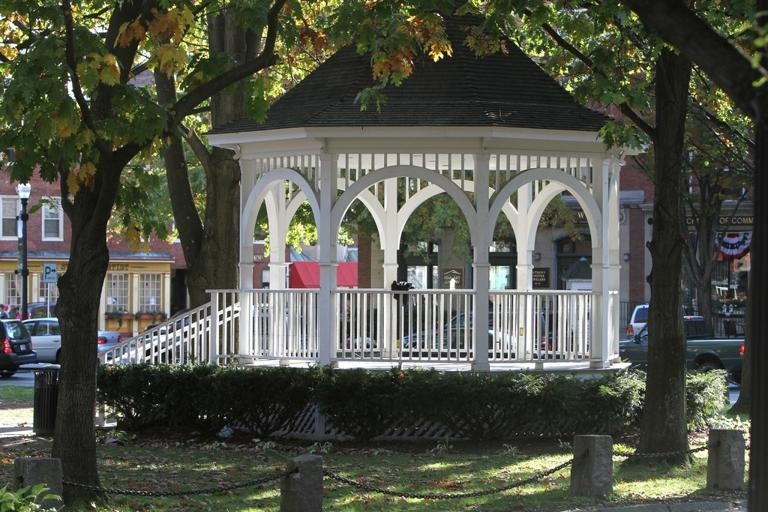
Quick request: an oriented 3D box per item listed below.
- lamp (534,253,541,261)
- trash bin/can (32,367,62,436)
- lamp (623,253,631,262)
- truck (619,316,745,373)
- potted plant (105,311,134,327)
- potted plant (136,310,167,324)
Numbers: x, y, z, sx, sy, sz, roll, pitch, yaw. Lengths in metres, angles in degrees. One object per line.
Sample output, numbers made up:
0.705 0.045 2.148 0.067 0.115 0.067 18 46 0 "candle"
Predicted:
5.153 0.123 53.836 0.235 0.349 0.244 0 -1 14 "lamp"
-6.521 2.901 30.843 0.619 1.358 0.437 -3 -6 13 "trash bin/can"
8.058 0.144 53.259 0.254 0.254 0.104 -7 -8 38 "lamp"
7.010 2.258 36.900 3.069 1.471 1.704 1 -2 13 "truck"
-9.508 2.452 57.493 0.804 0.583 0.507 2 -5 -25 "potted plant"
-8.382 2.340 57.347 0.840 0.360 1.148 0 -5 -5 "potted plant"
